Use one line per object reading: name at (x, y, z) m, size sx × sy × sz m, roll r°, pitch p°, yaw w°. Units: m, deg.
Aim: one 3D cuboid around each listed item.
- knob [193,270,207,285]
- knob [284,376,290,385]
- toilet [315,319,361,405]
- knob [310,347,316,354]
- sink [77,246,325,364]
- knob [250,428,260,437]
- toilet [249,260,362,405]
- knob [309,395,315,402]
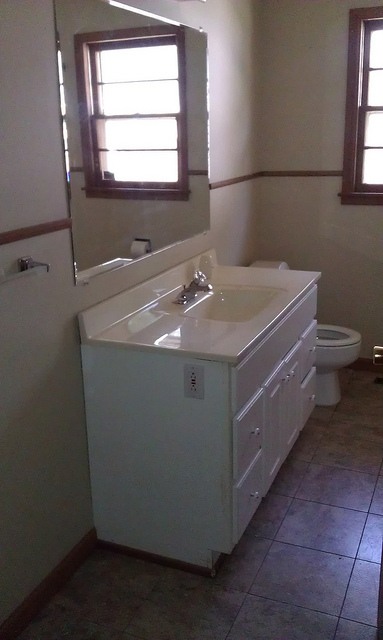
knob at (0.031, -0.185, 2.026) m, size 0.050 × 0.030 × 0.071 m, roll 25°, pitch 9°, yaw -5°
knob at (0.387, 0.240, 1.958) m, size 0.021 × 0.039 × 0.039 m, roll 3°, pitch 28°, yaw 18°
toilet at (0.796, 0.280, 2.868) m, size 0.320 × 0.405 × 0.324 m, roll 16°, pitch 23°, yaw 27°
knob at (0.599, 0.150, 2.396) m, size 0.023 × 0.035 × 0.048 m, roll 9°, pitch 27°, yaw 28°
sink at (0.089, -0.094, 1.848) m, size 0.538 × 0.261 × 1.100 m, roll 4°, pitch 13°, yaw 25°
knob at (0.208, 0.368, 1.574) m, size 0.024 × 0.037 × 0.012 m, roll -13°, pitch 17°, yaw -42°
toilet at (0.721, 0.019, 3.203) m, size 0.843 × 1.035 × 0.523 m, roll 8°, pitch 23°, yaw 30°
knob at (0.612, 0.400, 2.457) m, size 0.033 × 0.014 × 0.023 m, roll 1°, pitch 11°, yaw 26°
